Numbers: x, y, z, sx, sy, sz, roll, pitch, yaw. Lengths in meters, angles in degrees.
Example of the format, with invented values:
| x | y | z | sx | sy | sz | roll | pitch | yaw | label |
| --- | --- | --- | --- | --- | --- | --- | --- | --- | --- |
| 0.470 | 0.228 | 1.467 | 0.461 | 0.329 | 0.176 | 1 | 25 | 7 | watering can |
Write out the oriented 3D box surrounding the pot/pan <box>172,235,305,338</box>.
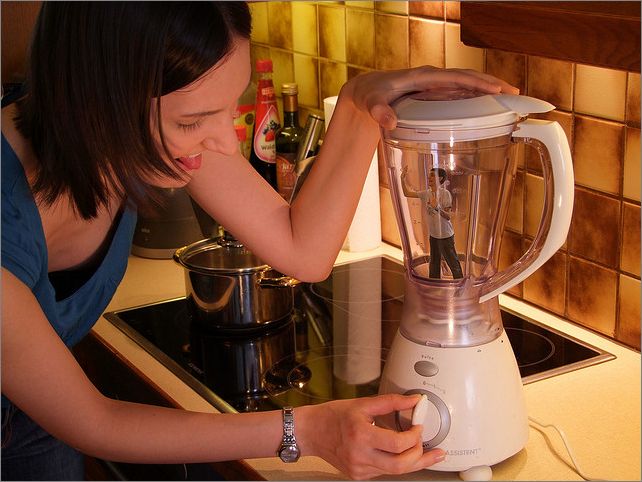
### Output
| x | y | z | sx | sy | sz | roll | pitch | yaw | label |
| --- | --- | --- | --- | --- | --- | --- | --- | --- | --- |
| -0.185 | 0.012 | 1.162 | 0.174 | 0.164 | 0.280 | -10 | 16 | -34 | pot/pan |

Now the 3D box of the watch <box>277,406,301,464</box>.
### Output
| x | y | z | sx | sy | sz | roll | pitch | yaw | label |
| --- | --- | --- | --- | --- | --- | --- | --- | --- | --- |
| -0.044 | 0.266 | 0.765 | 0.033 | 0.063 | 0.065 | -2 | 44 | 1 | watch |
